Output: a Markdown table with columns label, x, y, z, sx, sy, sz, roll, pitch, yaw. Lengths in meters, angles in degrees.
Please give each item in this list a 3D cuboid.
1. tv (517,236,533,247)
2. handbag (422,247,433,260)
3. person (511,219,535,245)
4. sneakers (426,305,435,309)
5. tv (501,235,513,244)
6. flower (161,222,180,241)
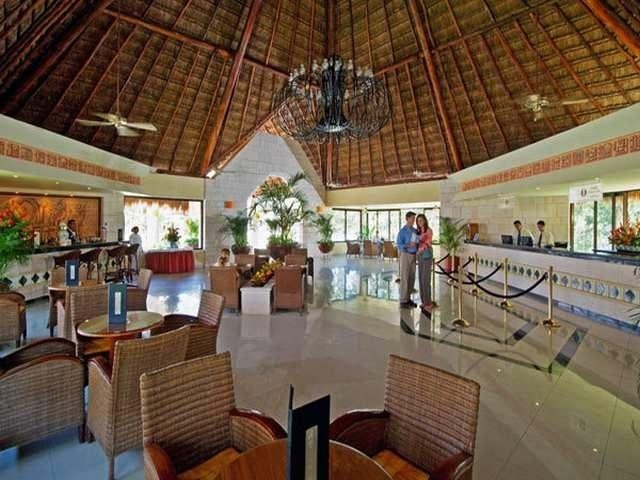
| label | x | y | z | sx | sy | sz | roll | pitch | yaw |
| --- | --- | --- | --- | --- | --- | --- | --- | --- | --- |
| tv | 5.078 | 0.032 | 10.030 | 0.226 | 0.282 | 0.623 | 2 | 12 | 12 |
| handbag | 2.081 | 0.267 | 7.916 | 0.193 | 0.206 | 0.101 | 1 | -9 | -13 |
| person | 5.635 | -0.226 | 11.199 | 0.437 | 1.195 | 0.493 | -1 | 10 | 45 |
| sneakers | 2.209 | 1.356 | 8.142 | 0.084 | 0.050 | 0.127 | 1 | 2 | -4 |
| tv | 4.878 | -0.012 | 10.592 | 0.107 | 0.215 | 0.206 | 4 | -11 | -28 |
| flower | -4.885 | -0.223 | 13.613 | 0.636 | 0.748 | 0.642 | 0 | -5 | 42 |
